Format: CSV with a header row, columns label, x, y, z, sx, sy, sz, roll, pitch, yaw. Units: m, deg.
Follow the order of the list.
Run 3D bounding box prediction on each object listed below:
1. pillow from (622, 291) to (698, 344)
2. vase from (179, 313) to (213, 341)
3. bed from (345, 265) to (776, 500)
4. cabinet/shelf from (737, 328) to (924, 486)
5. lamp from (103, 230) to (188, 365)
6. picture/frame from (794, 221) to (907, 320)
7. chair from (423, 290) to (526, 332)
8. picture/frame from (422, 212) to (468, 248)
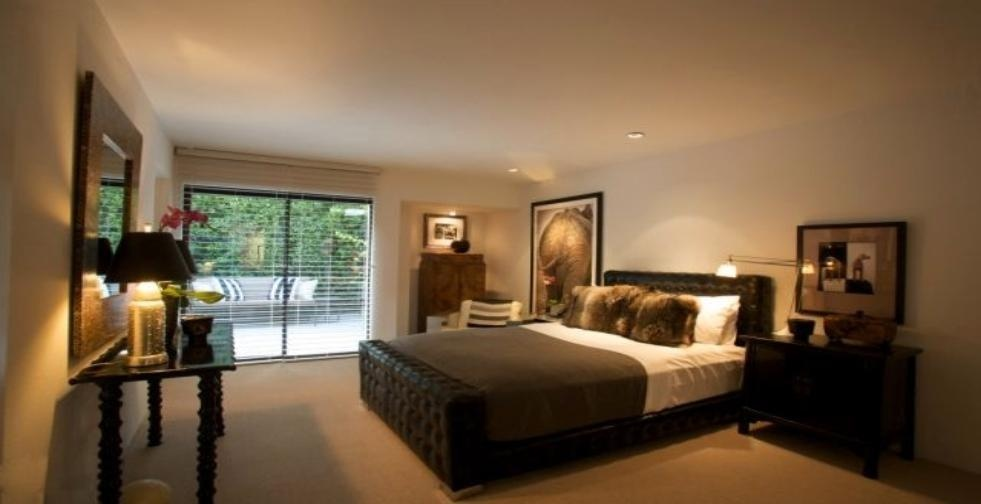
label,x,y,z,sx,sy,sz,roll,pitch,yaw
pillow,1.718,0.645,5.925,0.555,0.507,0.235,-2,-36,40
vase,-2.391,0.620,4.932,0.218,0.137,0.214,4,-5,-42
bed,0.689,1.074,5.697,2.989,1.182,2.097,2,-2,-25
cabinet/shelf,2.947,1.143,5.460,1.119,1.066,1.668,-1,2,-35
lamp,-2.533,0.335,4.458,0.503,1.033,0.521,4,-1,-31
picture/frame,3.173,0.153,5.283,1.054,0.973,0.085,1,4,42
chair,-0.143,0.911,8.206,0.778,0.669,0.693,-2,-20,15
picture/frame,-0.663,-0.303,8.986,0.053,0.486,0.805,4,2,44
